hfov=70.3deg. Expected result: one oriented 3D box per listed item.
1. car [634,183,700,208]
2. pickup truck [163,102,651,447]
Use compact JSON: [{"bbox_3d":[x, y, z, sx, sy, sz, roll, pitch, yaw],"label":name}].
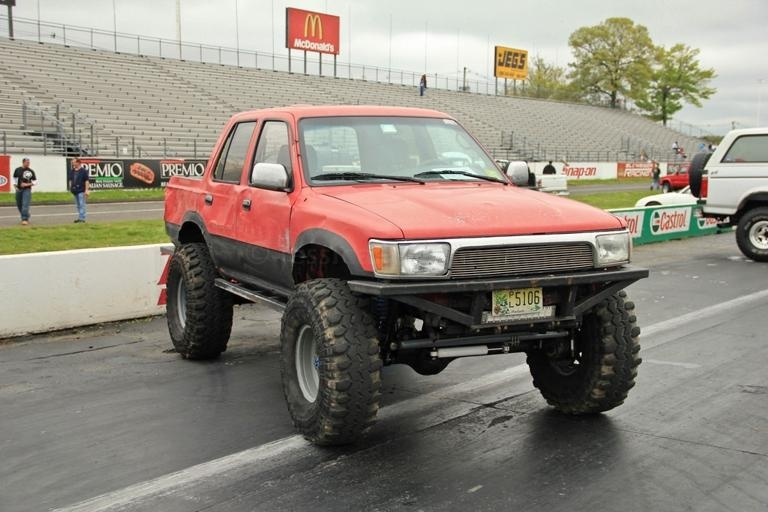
[{"bbox_3d":[10.413,-2.264,19.957,2.635,0.880,1.110,1,3,6],"label":"car"},{"bbox_3d":[-0.369,-0.325,6.654,3.496,2.334,5.635,-6,16,-33],"label":"pickup truck"}]
